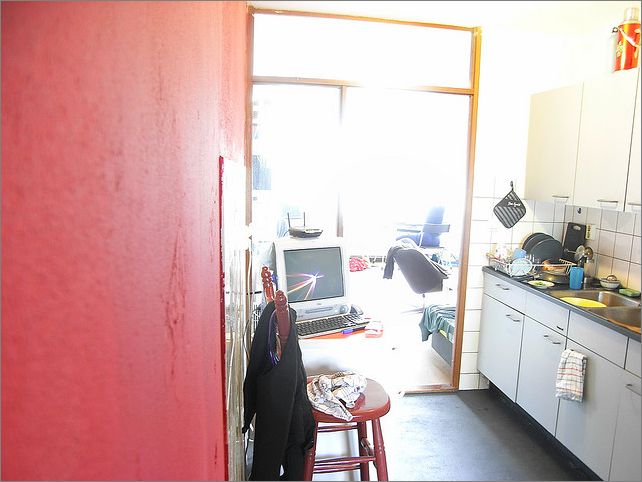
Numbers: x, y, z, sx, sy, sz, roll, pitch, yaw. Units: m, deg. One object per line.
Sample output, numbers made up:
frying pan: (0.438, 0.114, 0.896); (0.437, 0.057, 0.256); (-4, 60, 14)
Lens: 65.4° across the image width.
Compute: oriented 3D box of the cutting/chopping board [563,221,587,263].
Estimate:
cutting/chopping board: (1.674, 0.009, 3.291); (0.019, 0.249, 0.132); (2, 11, -23)

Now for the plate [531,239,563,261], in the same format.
plate: (1.514, 0.059, 3.324); (0.269, 0.143, 0.057); (-4, 12, -23)

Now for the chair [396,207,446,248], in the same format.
chair: (1.162, -0.163, 5.557); (0.466, 0.506, 0.400); (5, 8, 38)

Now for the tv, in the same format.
tv: (-0.047, 0.193, 2.382); (0.354, 0.408, 0.211); (-4, -1, -26)

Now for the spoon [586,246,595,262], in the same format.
spoon: (1.652, 0.082, 3.064); (0.018, 0.079, 0.075); (-2, -9, -33)

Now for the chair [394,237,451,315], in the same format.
chair: (0.792, 0.333, 3.792); (0.293, 0.350, 0.310); (3, 16, 27)

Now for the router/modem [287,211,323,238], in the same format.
router/modem: (-0.090, -0.060, 2.566); (0.163, 0.068, 0.204); (-4, 11, -20)

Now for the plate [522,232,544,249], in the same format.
plate: (1.406, -0.006, 3.314); (0.107, 0.114, 0.025); (-5, 25, -35)

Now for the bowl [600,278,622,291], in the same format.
bowl: (1.683, 0.252, 2.898); (0.103, 0.063, 0.082); (7, 13, 32)

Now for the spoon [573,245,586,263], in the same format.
spoon: (1.632, 0.081, 3.149); (0.091, 0.097, 0.050); (-9, 16, -44)

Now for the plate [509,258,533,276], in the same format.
plate: (1.235, 0.164, 3.081); (0.119, 0.098, 0.044); (-12, 0, 29)
